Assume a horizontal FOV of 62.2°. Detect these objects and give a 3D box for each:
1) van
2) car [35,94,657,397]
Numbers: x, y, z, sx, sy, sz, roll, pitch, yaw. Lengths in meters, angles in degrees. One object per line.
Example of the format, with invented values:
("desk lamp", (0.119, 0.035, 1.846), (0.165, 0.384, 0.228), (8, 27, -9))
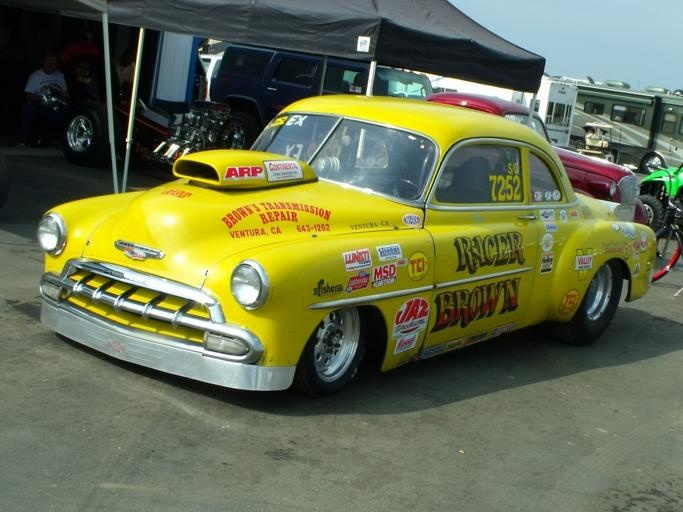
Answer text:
("van", (-0.864, -4.219, 14.109), (5.433, 2.003, 2.828), (10, 18, 21))
("car", (0.354, -0.213, 4.930), (4.688, 1.477, 2.623), (-1, 9, -38))
